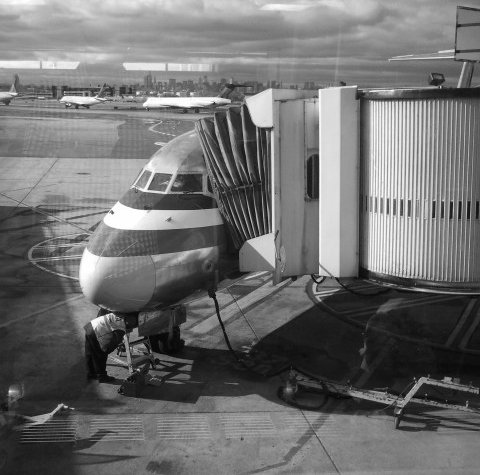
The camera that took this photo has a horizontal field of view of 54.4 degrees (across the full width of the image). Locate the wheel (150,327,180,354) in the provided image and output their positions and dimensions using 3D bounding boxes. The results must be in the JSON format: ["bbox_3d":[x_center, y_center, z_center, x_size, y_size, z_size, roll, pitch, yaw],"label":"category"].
[{"bbox_3d":[-0.956,1.298,5.819,0.272,0.256,0.194,-1,5,-28],"label":"wheel"}]
